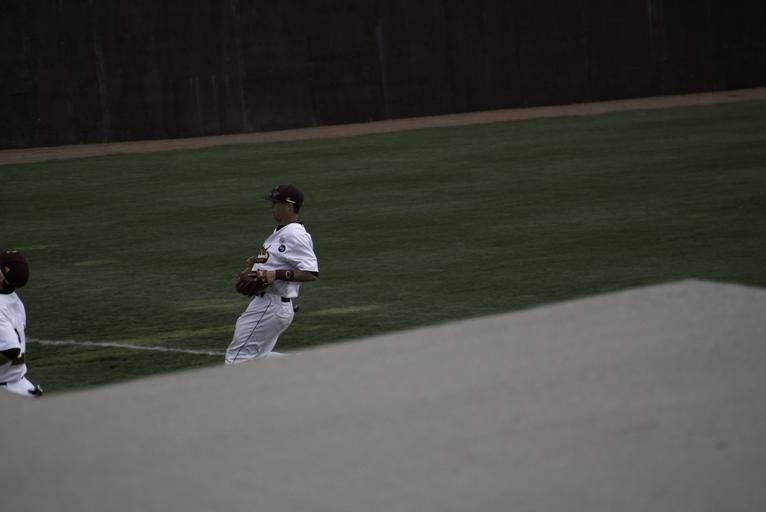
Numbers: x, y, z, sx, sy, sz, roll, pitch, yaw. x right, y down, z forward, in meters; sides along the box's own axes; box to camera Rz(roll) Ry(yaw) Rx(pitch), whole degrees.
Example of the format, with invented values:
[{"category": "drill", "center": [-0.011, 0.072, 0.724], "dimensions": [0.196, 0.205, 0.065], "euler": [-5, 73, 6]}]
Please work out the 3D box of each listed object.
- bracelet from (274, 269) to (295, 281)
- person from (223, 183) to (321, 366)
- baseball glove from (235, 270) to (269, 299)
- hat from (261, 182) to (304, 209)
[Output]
[{"category": "bracelet", "center": [-0.851, 0.161, 8.653], "dimensions": [0.146, 0.057, 0.092], "euler": [2, 5, 12]}, {"category": "person", "center": [-0.970, 0.145, 8.810], "dimensions": [0.781, 1.573, 0.535], "euler": [1, -3, -6]}, {"category": "baseball glove", "center": [-1.138, 0.235, 8.704], "dimensions": [0.254, 0.214, 0.201], "euler": [1, -3, -6]}, {"category": "hat", "center": [-0.900, -0.536, 8.905], "dimensions": [0.363, 0.158, 0.229], "euler": [19, 15, -10]}]
